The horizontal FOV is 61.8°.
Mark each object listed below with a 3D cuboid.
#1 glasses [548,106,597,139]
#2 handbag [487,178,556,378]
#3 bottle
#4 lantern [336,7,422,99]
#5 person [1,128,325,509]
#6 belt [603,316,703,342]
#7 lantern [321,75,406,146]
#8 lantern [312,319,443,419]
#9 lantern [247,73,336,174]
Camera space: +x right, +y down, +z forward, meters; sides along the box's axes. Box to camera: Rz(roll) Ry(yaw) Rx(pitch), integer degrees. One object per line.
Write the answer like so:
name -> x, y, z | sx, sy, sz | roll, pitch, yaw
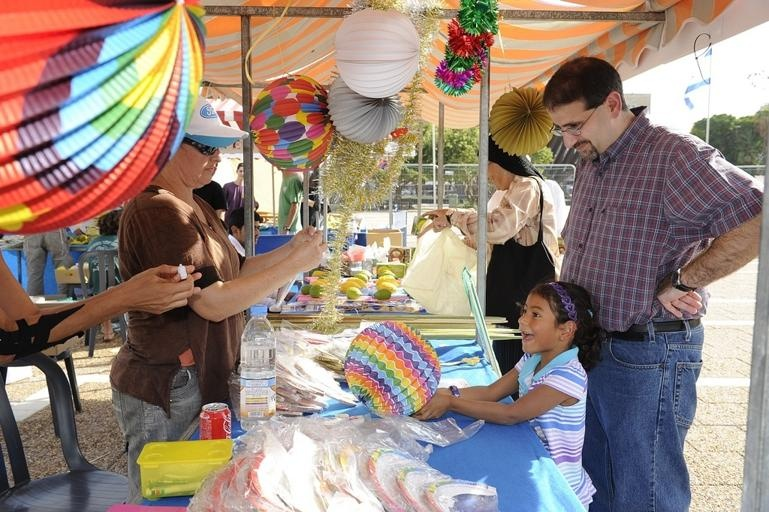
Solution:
glasses -> 0.924, -0.654, 3.113 | 0.155, 0.046, 0.147 | -44, 24, -10
handbag -> 0.808, 0.163, 4.306 | 0.439, 1.292, 0.434 | 0, 20, -4
bottle -> -0.505, 0.448, 2.531 | 0.175, 0.513, 0.178 | 3, 4, 0
lantern -> -0.029, -0.832, 2.638 | 0.345, 0.349, 0.184 | 2, 4, -5
person -> -0.750, 0.253, 2.696 | 0.893, 2.039, 0.868 | 0, 4, 0
belt -> 1.293, 0.358, 3.062 | 0.226, 0.063, 0.169 | -9, -3, 6
lantern -> -0.092, -0.600, 2.713 | 0.289, 0.289, 0.121 | -40, 18, -18
lantern -> -0.007, 0.494, 2.737 | 0.498, 0.486, 0.526 | 4, 4, -20
lantern -> -0.399, -0.590, 2.891 | 0.402, 0.443, 0.422 | 22, 32, 15
